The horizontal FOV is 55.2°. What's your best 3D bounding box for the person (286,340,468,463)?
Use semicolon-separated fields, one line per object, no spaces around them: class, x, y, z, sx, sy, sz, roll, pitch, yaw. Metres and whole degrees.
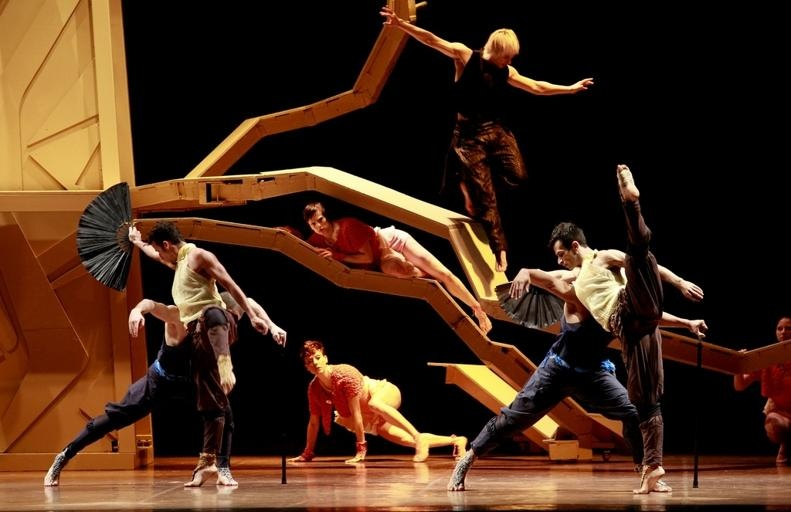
person;-0.135;1.450;7.135;1.748;1.105;0.676;4;-21;-17

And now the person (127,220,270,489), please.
person;-1.387;0.674;5.264;0.877;1.759;0.739;10;-21;-20

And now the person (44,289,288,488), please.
person;-1.629;0.961;5.641;1.623;1.428;0.672;6;-21;-20

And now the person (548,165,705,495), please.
person;1.481;0.491;4.848;0.909;1.947;0.700;19;-26;-38

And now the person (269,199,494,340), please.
person;-0.146;-0.035;6.989;1.793;0.600;1.104;29;-18;-18
